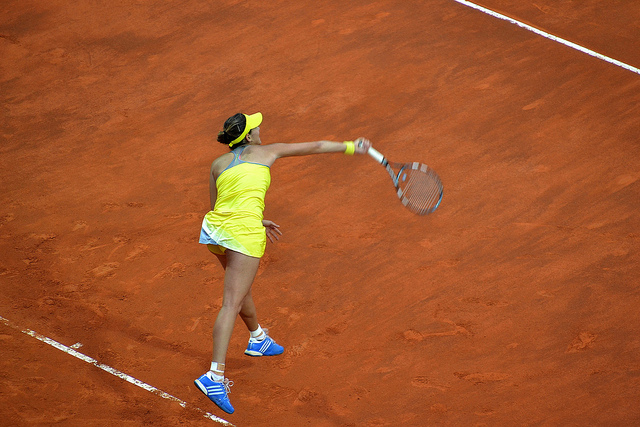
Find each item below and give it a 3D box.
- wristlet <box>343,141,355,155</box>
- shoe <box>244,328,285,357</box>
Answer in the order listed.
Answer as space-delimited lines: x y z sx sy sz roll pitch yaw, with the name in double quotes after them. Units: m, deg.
0.347 -0.773 9.699 0.110 0.136 0.120 5 12 -30 "wristlet"
-0.642 1.552 10.233 0.201 0.302 0.562 1 -3 43 "shoe"
